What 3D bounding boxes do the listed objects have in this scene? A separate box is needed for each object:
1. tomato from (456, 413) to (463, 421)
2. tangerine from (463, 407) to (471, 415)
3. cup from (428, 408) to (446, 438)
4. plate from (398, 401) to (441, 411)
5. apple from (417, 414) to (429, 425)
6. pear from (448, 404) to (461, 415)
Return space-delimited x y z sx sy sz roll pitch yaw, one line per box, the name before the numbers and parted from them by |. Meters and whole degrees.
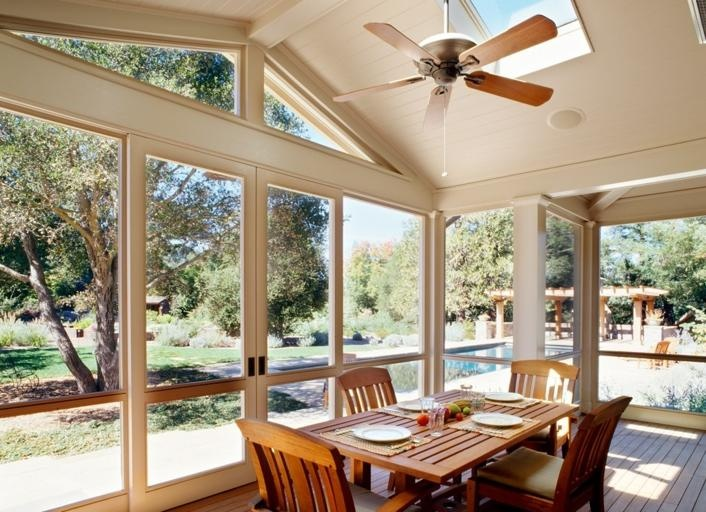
tomato | 0.755 1.135 3.462 0.048 0.043 0.048 8 -11 20
tangerine | 0.833 1.133 3.585 0.050 0.042 0.046 -9 10 -20
cup | 0.564 1.113 3.298 0.141 0.179 0.129 1 -3 0
plate | 0.483 1.099 3.589 0.163 0.015 0.162 -4 -4 35
apple | 0.484 1.122 3.363 0.077 0.065 0.074 6 -12 -42
pear | 0.743 1.098 3.560 0.072 0.065 0.080 -4 29 7
